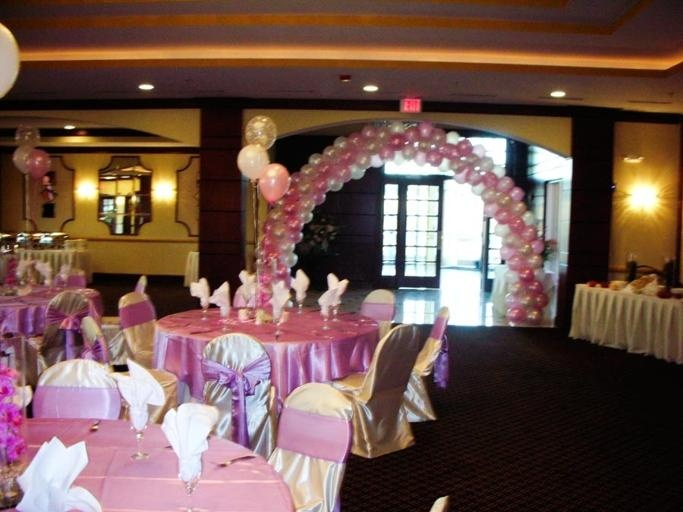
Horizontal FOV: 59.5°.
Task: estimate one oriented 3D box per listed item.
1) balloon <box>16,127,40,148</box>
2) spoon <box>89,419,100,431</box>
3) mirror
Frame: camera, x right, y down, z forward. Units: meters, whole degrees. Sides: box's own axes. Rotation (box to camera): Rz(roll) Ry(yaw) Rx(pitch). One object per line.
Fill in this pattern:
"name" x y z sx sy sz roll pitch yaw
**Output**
"balloon" -3.936 -1.493 7.481 0.248 0.245 0.244 -1 10 -23
"spoon" -1.242 0.857 3.007 0.031 0.034 0.030 24 -40 -4
"mirror" -4.640 -1.276 12.798 1.223 1.638 0.047 1 0 10
